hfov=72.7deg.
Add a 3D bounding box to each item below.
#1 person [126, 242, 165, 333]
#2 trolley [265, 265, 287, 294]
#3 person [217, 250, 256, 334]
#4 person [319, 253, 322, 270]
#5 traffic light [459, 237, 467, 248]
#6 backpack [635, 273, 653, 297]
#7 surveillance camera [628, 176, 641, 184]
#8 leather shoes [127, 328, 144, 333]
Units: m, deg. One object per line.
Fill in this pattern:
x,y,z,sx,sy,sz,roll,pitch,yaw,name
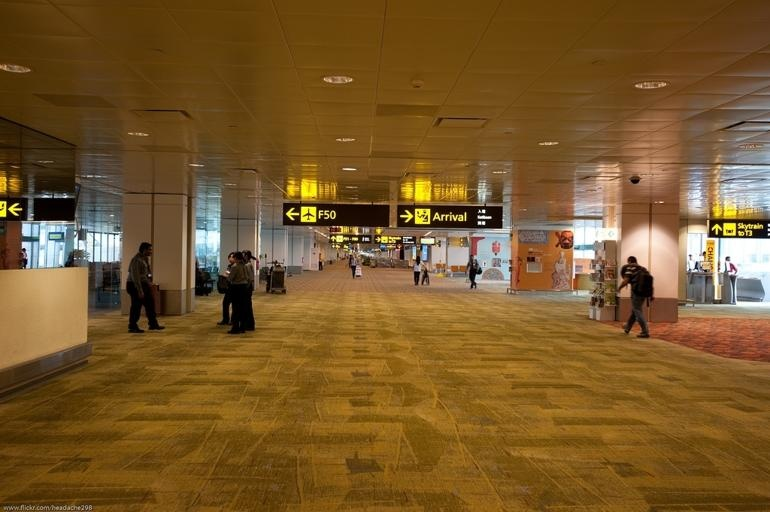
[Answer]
-5.891,0.763,12.786,0.750,2.172,1.562,0,5,-23,person
-4.764,1.044,22.903,0.802,1.172,1.081,1,4,-12,trolley
-3.668,0.868,13.035,0.837,1.967,1.403,1,5,-17,person
-6.496,0.640,52.381,0.250,1.378,0.792,1,5,-13,person
6.728,-1.205,45.105,1.064,0.826,0.491,0,-7,-1,traffic light
6.703,0.732,13.402,0.423,0.613,0.267,-1,5,-34,backpack
6.590,-2.008,13.772,0.241,0.089,0.250,0,-6,4,surveillance camera
-5.912,1.758,12.403,0.329,0.100,0.249,-1,5,-28,leather shoes
